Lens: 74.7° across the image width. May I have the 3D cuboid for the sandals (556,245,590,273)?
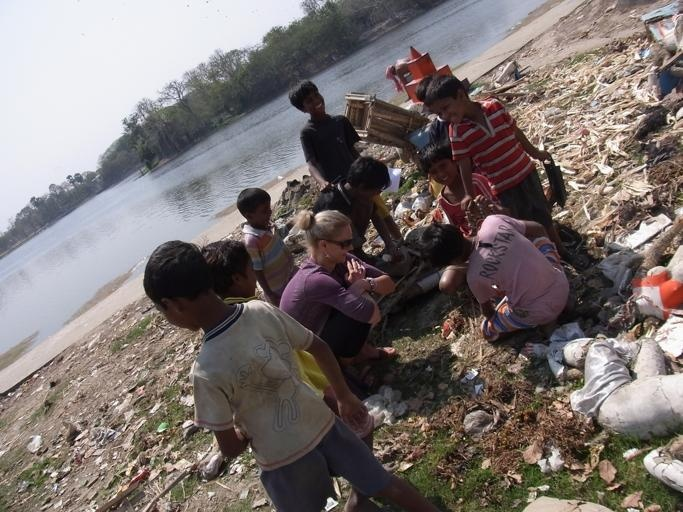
[{"bbox_3d":[2.510,0.037,4.835,0.269,0.069,0.273,-7,34,-27],"label":"sandals"}]

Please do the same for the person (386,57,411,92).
[{"bbox_3d":[1.532,-4.723,11.796,0.714,0.979,0.380,19,42,16],"label":"person"}]

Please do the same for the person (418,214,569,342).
[{"bbox_3d":[1.470,0.235,4.286,0.721,1.048,0.786,13,69,53],"label":"person"}]

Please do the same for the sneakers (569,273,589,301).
[{"bbox_3d":[2.309,0.307,4.362,0.179,0.213,0.209,-23,-4,9],"label":"sneakers"}]

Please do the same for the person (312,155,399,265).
[{"bbox_3d":[0.281,-0.615,5.910,1.142,1.608,0.715,-5,49,3],"label":"person"}]
